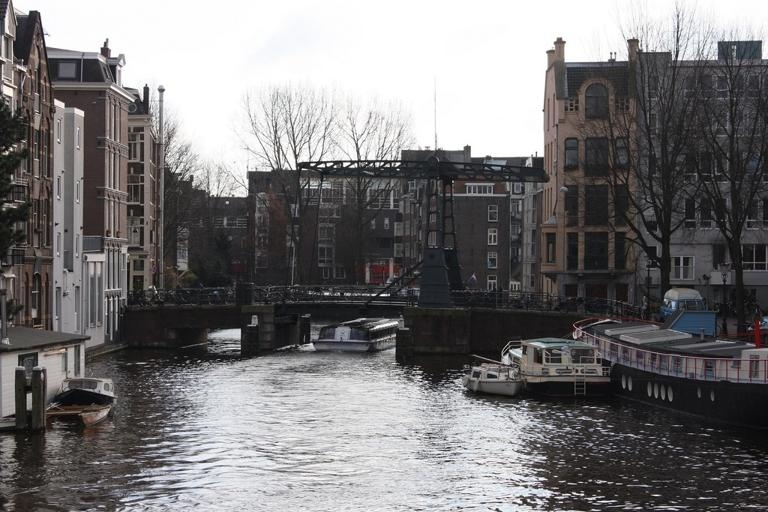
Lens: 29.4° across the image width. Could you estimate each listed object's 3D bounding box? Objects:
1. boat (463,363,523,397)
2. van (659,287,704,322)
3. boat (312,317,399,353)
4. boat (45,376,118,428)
[{"bbox_3d":[6.607,7.694,89.640,1.719,1.178,3.036,0,-2,-33],"label":"boat"},{"bbox_3d":[19.851,3.225,97.555,2.121,2.206,3.449,0,-4,-7],"label":"van"},{"bbox_3d":[-1.226,6.068,113.947,9.353,3.121,3.856,-4,-4,28],"label":"boat"},{"bbox_3d":[-16.992,8.079,82.264,3.186,2.265,4.778,1,11,6],"label":"boat"}]
